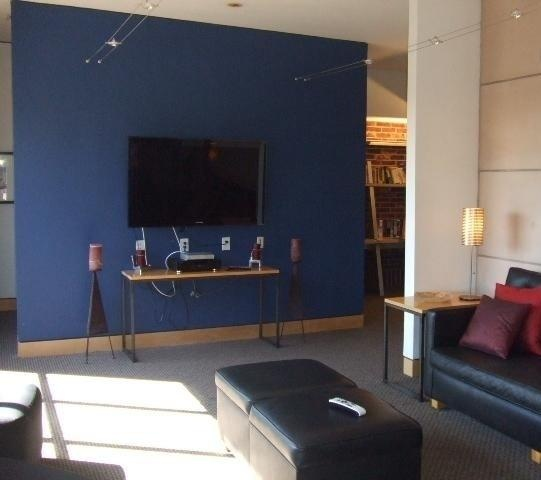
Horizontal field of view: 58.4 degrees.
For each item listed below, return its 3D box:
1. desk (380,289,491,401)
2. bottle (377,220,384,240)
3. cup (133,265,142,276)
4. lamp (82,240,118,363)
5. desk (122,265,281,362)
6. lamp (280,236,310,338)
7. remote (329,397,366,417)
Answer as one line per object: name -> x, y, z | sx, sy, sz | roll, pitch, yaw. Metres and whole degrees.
desk -> 1.353, 0.757, 4.135 | 0.928, 0.956, 0.664 | -2, 4, -32
bottle -> 1.840, -0.186, 8.143 | 0.106, 0.305, 0.503 | 0, 6, 13
cup -> -1.302, 0.303, 4.737 | 0.080, 0.122, 0.080 | 0, 0, 0
lamp -> -1.703, 0.599, 4.764 | 0.281, 1.122, 0.352 | -3, 5, -22
desk -> -0.683, 0.785, 5.127 | 1.476, 0.973, 0.518 | -1, 4, -18
lamp -> 0.241, 0.547, 5.502 | 0.282, 1.143, 0.368 | -1, 5, 3
remote -> 0.383, 0.825, 2.404 | 0.068, 0.028, 0.126 | 1, 4, -43
